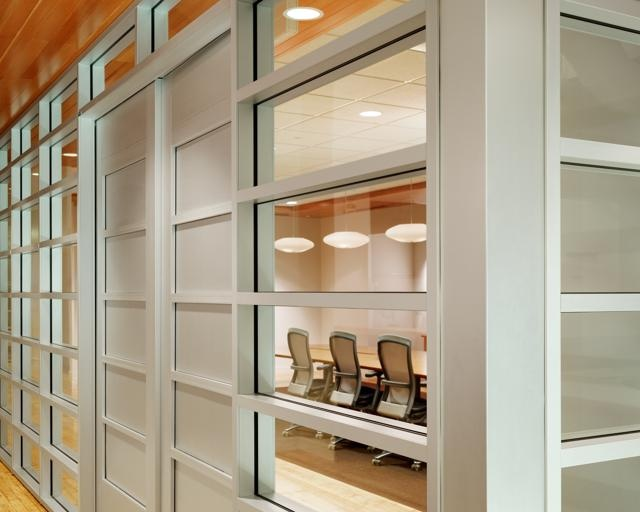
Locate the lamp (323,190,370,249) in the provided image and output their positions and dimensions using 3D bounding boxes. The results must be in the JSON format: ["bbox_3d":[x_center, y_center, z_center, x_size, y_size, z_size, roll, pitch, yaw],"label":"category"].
[{"bbox_3d":[0.081,-0.104,1.485,0.144,0.154,0.143,-1,-7,29],"label":"lamp"}]

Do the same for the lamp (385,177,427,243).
[{"bbox_3d":[0.227,-0.112,1.292,0.135,0.182,0.131,1,-3,18],"label":"lamp"}]
